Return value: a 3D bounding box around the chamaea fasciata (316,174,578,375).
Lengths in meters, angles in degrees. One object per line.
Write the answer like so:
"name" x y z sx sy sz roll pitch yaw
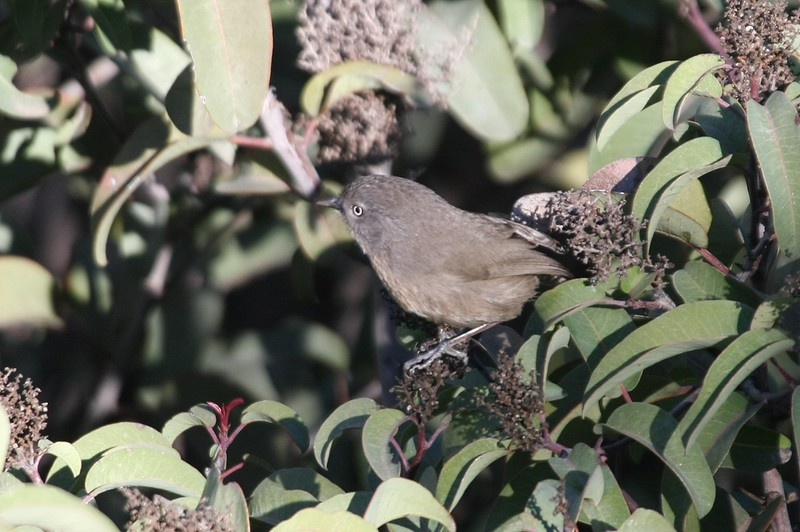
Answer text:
"chamaea fasciata" 0.154 -0.027 3.398 1.018 0.774 0.511 0 8 2
